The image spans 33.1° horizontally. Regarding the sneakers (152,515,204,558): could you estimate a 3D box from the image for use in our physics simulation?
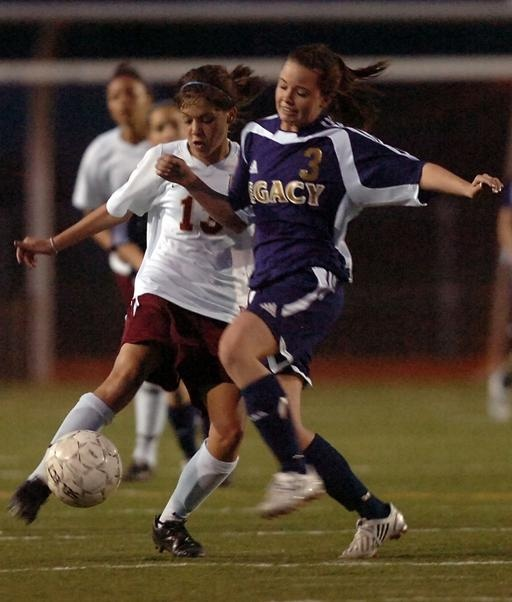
[{"bbox_3d":[-0.255,0.746,2.705,0.084,0.080,0.206,-3,-2,-39],"label":"sneakers"}]

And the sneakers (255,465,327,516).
[{"bbox_3d":[0.100,0.542,2.420,0.182,0.123,0.092,0,0,-11],"label":"sneakers"}]

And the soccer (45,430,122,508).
[{"bbox_3d":[-0.517,0.501,2.636,0.313,0.211,0.256,0,-1,3],"label":"soccer"}]

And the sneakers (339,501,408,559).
[{"bbox_3d":[0.373,0.726,2.748,0.290,0.109,0.105,-24,10,-35],"label":"sneakers"}]
